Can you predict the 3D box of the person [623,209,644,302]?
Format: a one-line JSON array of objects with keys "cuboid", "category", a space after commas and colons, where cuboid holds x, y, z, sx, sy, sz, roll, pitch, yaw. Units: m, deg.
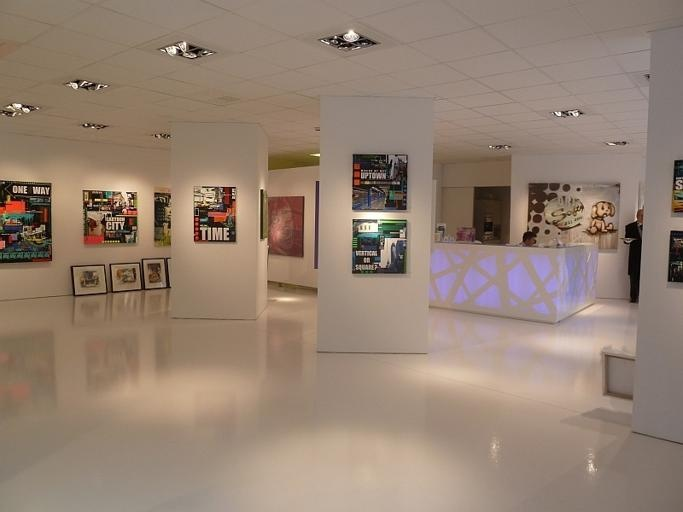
[{"cuboid": [6.835, 0.003, 10.508, 0.381, 2.238, 0.889, 5, 6, 32], "category": "person"}]
